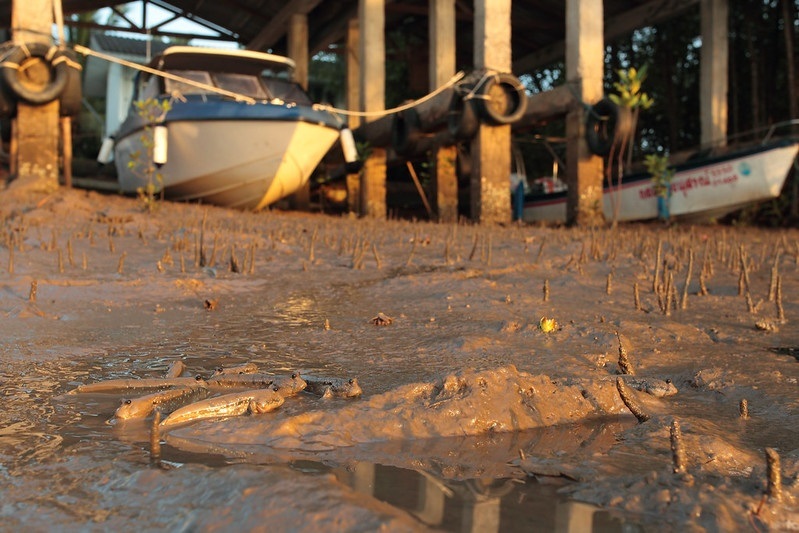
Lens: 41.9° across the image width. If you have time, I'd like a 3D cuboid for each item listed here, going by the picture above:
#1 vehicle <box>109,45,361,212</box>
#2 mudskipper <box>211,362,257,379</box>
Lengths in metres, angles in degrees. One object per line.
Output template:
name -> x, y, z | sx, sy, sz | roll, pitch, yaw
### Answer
vehicle -> -3.190, -2.573, 19.748 | 3.781, 3.051, 2.841 | -1, 14, -20
mudskipper -> -1.924, 1.174, 12.003 | 0.500, 0.115, 0.181 | -13, 16, -7
